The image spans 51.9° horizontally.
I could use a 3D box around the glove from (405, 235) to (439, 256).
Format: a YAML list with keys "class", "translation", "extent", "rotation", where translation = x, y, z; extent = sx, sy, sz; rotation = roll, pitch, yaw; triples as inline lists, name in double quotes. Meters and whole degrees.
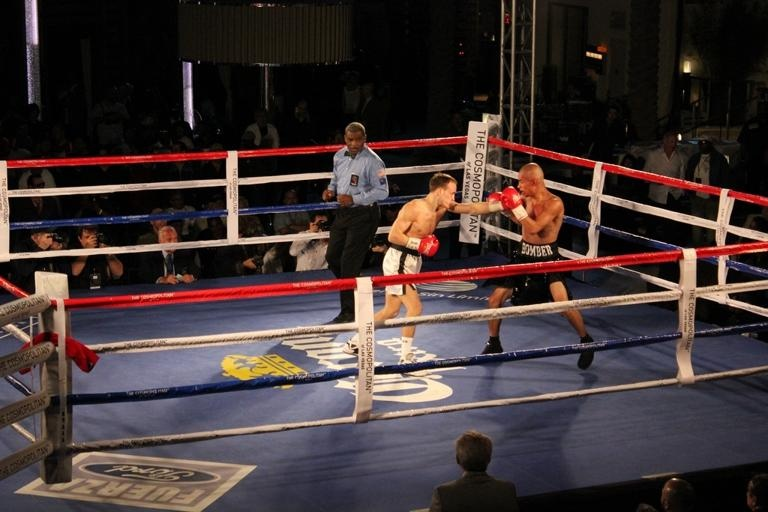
- class: "glove"
  translation: [0.314, -0.075, 6.627]
  extent: [0.225, 0.091, 0.183]
  rotation: [12, 14, 34]

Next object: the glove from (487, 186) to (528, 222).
- class: "glove"
  translation: [1.096, -0.461, 6.779]
  extent: [0.343, 0.134, 0.331]
  rotation: [27, 13, 14]

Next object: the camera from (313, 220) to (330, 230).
- class: "camera"
  translation: [-0.702, -0.344, 8.885]
  extent: [0.130, 0.106, 0.118]
  rotation: [3, 5, -24]

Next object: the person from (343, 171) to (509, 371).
- class: "person"
  translation: [0.308, 0.085, 6.726]
  extent: [1.093, 1.538, 0.747]
  rotation: [-14, 18, -38]
